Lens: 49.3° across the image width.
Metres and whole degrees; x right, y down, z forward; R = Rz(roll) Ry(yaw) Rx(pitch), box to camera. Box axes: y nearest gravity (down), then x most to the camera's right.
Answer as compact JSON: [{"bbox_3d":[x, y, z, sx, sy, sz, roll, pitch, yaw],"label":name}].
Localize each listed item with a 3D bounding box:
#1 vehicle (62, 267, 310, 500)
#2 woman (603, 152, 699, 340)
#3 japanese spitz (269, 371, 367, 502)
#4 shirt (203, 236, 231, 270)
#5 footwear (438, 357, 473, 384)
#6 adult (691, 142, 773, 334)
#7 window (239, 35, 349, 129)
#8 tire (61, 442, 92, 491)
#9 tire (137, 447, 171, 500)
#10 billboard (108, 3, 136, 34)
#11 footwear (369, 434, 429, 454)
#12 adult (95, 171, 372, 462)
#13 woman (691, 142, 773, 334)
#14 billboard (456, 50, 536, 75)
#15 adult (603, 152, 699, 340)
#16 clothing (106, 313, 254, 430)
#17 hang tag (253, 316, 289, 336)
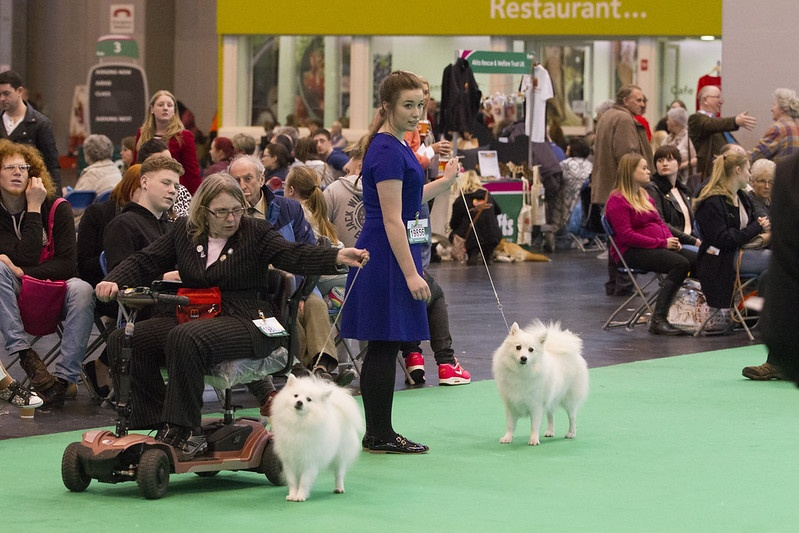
[{"bbox_3d":[-1.254,0.815,5.362,0.780,1.391,1.594,-4,-7,35],"label":"vehicle"},{"bbox_3d":[2.621,-0.225,9.272,0.875,1.879,0.400,0,5,22],"label":"woman"},{"bbox_3d":[-0.428,0.927,4.782,0.327,0.694,0.493,3,7,42],"label":"japanese spitz"},{"bbox_3d":[-1.067,-0.088,5.164,0.115,0.154,0.157,2,2,2],"label":"shirt"},{"bbox_3d":[0.487,0.887,7.281,0.121,0.164,0.319,0,1,45],"label":"footwear"},{"bbox_3d":[3.365,-0.379,8.854,0.636,1.628,0.377,-1,5,2],"label":"adult"},{"bbox_3d":[-2.250,-4.818,22.151,2.267,2.817,2.342,1,3,8],"label":"window"},{"bbox_3d":[-1.799,1.117,4.857,0.150,0.290,0.170,-4,5,-21],"label":"tire"},{"bbox_3d":[-1.330,1.107,4.712,0.082,0.271,0.259,-1,-6,16],"label":"tire"},{"bbox_3d":[-5.441,-4.852,17.164,0.440,0.668,0.964,-3,5,-20],"label":"billboard"},{"bbox_3d":[-0.008,1.133,5.597,0.366,0.135,0.140,0,-2,-4],"label":"footwear"},{"bbox_3d":[-0.904,0.280,5.116,1.460,1.607,0.926,2,2,0],"label":"adult"},{"bbox_3d":[3.367,-0.381,8.877,0.659,1.628,0.430,-1,5,12],"label":"woman"},{"bbox_3d":[1.732,-3.542,15.219,1.540,0.396,0.473,-5,6,-36],"label":"billboard"},{"bbox_3d":[2.622,-0.226,9.273,0.872,1.879,0.410,0,5,21],"label":"adult"},{"bbox_3d":[-1.246,0.599,4.905,0.513,0.555,0.717,-4,-10,29],"label":"clothing"},{"bbox_3d":[-0.759,0.348,5.100,0.169,0.020,0.173,42,12,15],"label":"hang tag"}]
